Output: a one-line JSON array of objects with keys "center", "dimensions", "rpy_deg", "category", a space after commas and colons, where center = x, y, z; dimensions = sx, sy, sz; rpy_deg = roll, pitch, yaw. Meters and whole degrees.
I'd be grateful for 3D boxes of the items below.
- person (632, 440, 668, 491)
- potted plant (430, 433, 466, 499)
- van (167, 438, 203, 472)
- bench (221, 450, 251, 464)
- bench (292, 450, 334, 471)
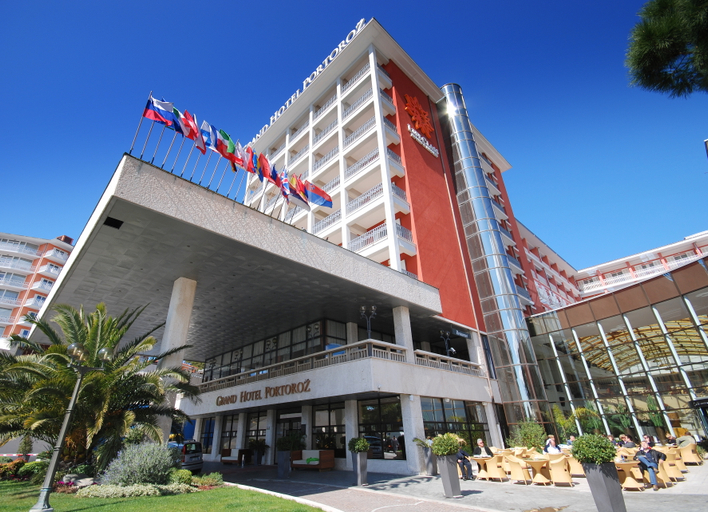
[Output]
[{"center": [12.079, 8.374, 14.139], "dimensions": [1.115, 0.813, 1.856], "rpy_deg": [-28, 1, 34], "category": "person"}, {"center": [3.814, 8.377, 13.992], "dimensions": [1.114, 2.210, 1.580], "rpy_deg": [-10, -29, 13], "category": "potted plant"}, {"center": [-10.328, 11.613, 20.145], "dimensions": [3.105, 1.601, 1.564], "rpy_deg": [-18, -27, 26], "category": "van"}, {"center": [-9.578, 16.202, 28.260], "dimensions": [1.483, 1.023, 3.414], "rpy_deg": [17, -33, -33], "category": "bench"}, {"center": [-2.547, 13.018, 22.236], "dimensions": [2.224, 1.124, 1.247], "rpy_deg": [-15, -30, 23], "category": "bench"}]
